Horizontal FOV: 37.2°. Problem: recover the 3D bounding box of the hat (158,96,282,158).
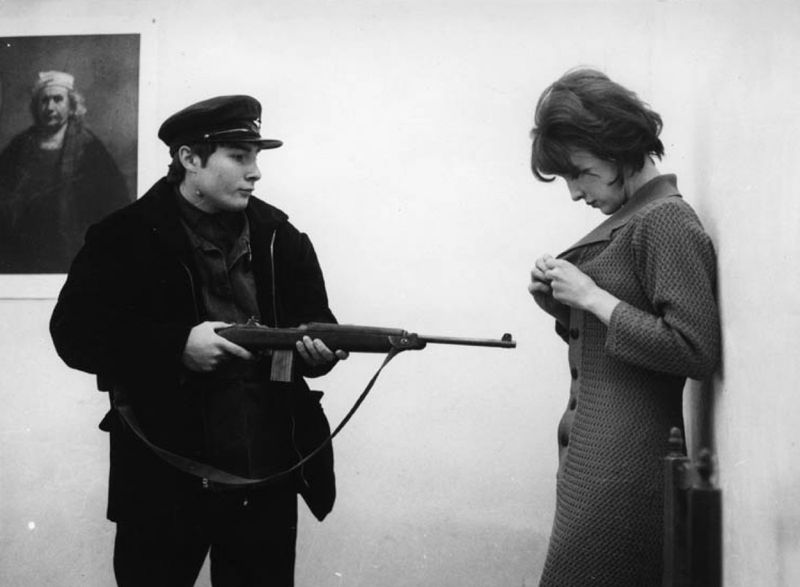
[{"bbox_3d":[-0.715,-0.638,4.552,0.453,0.183,0.380,-9,-6,5],"label":"hat"}]
